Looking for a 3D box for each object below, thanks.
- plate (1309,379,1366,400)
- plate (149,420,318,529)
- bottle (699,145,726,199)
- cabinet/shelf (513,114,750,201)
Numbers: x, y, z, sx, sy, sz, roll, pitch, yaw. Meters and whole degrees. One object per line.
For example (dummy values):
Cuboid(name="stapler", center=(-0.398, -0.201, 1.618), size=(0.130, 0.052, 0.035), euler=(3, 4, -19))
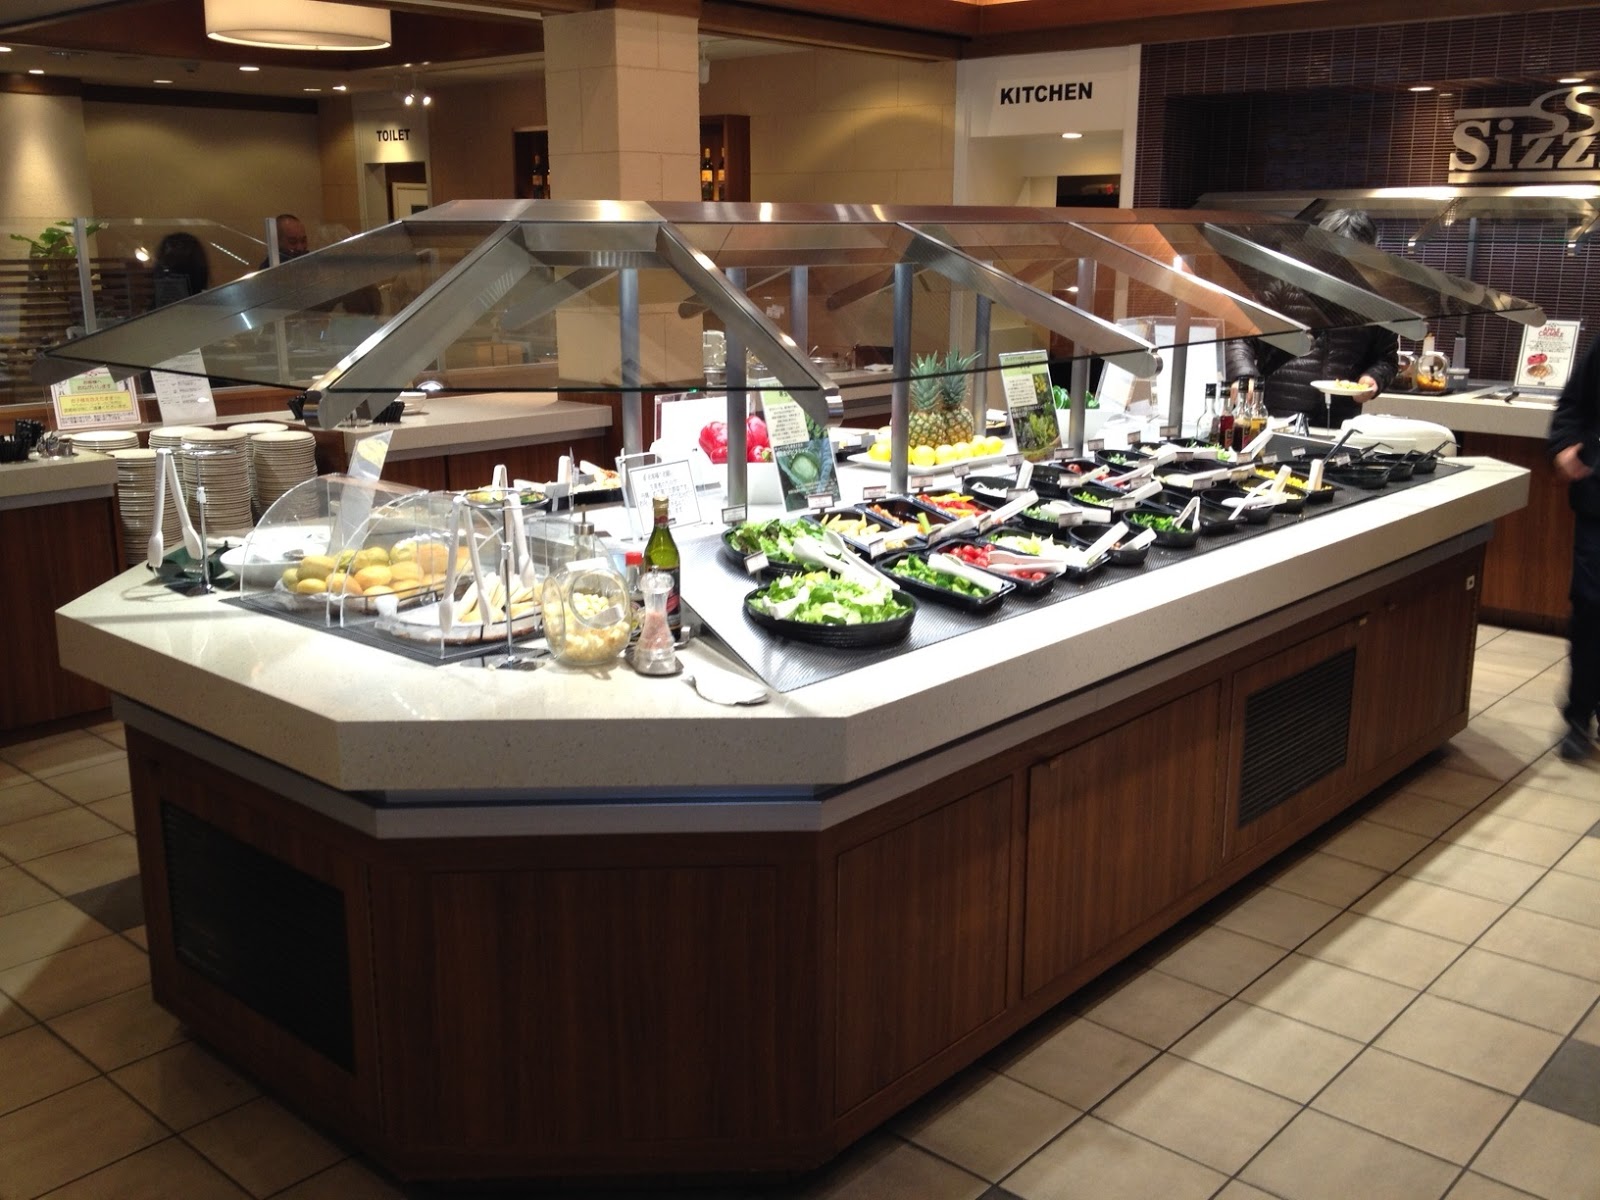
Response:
Cuboid(name="plate", center=(2.868, -1.138, 6.308), size=(0.219, 0.038, 0.201), euler=(-7, 16, -20))
Cuboid(name="plate", center=(-2.131, -0.460, 4.416), size=(0.593, 0.364, 0.553), euler=(9, 16, 32))
Cuboid(name="bottle", center=(-0.723, -3.701, 10.195), size=(0.186, 0.436, 0.438), euler=(-9, 19, -14))
Cuboid(name="cabinet/shelf", center=(-1.725, -4.040, 10.865), size=(2.851, 0.750, 0.680), euler=(10, 22, 35))
